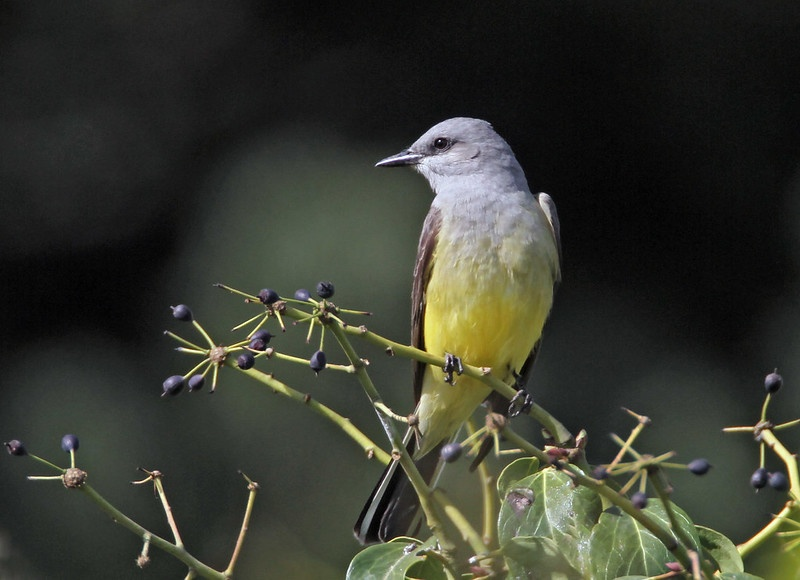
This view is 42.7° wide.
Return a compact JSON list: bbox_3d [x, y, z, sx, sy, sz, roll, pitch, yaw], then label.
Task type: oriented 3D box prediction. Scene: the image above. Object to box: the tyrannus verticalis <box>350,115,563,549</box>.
[{"bbox_3d":[0.300,0.058,5.375,0.853,2.384,1.054,2,4,-8],"label":"tyrannus verticalis"}]
